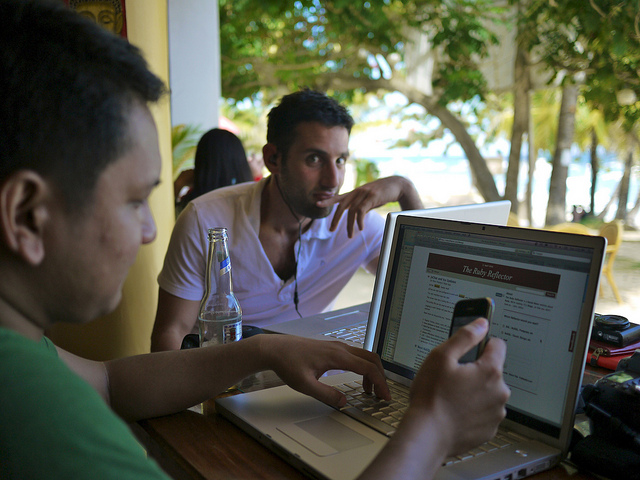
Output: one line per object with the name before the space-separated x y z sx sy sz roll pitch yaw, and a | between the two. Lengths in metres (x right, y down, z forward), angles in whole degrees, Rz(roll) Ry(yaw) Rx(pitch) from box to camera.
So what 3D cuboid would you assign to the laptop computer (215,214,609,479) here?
laptop computer | 0.171 0.201 1.155 0.553 0.503 0.580 0 5 -35
